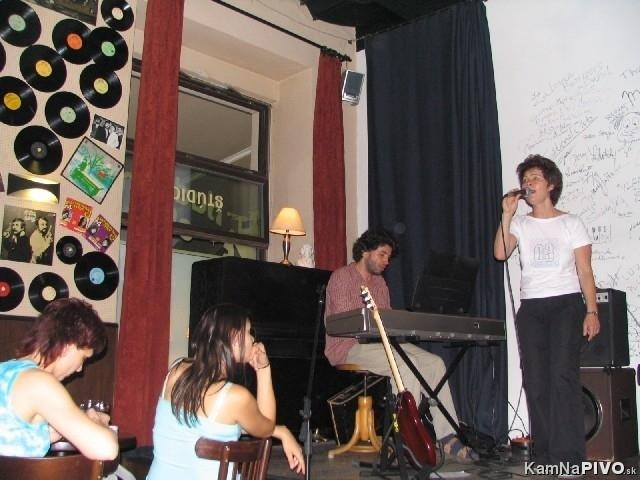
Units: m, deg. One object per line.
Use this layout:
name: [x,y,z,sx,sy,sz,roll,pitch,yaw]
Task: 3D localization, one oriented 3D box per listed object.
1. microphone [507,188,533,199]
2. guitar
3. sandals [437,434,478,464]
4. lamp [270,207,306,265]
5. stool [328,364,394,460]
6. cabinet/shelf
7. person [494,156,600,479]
microphone: [1.314,-0.317,3.353,0.149,0.051,0.050,7,-44,-14]
guitar: [0.433,0.740,2.791,0.389,0.963,0.427,-1,-7,10]
sandals: [0.937,1.381,3.410,0.236,0.175,0.196,-2,-8,19]
lamp: [-0.315,-0.025,4.982,0.304,0.575,0.319,4,3,-12]
stool: [0.351,1.228,3.808,0.571,0.669,0.583,3,-17,-13]
cabinet/shelf: [-0.352,0.964,4.625,0.423,1.328,1.331,1,-12,22]
person: [1.439,0.377,3.248,0.573,1.982,0.391,-4,-8,34]
